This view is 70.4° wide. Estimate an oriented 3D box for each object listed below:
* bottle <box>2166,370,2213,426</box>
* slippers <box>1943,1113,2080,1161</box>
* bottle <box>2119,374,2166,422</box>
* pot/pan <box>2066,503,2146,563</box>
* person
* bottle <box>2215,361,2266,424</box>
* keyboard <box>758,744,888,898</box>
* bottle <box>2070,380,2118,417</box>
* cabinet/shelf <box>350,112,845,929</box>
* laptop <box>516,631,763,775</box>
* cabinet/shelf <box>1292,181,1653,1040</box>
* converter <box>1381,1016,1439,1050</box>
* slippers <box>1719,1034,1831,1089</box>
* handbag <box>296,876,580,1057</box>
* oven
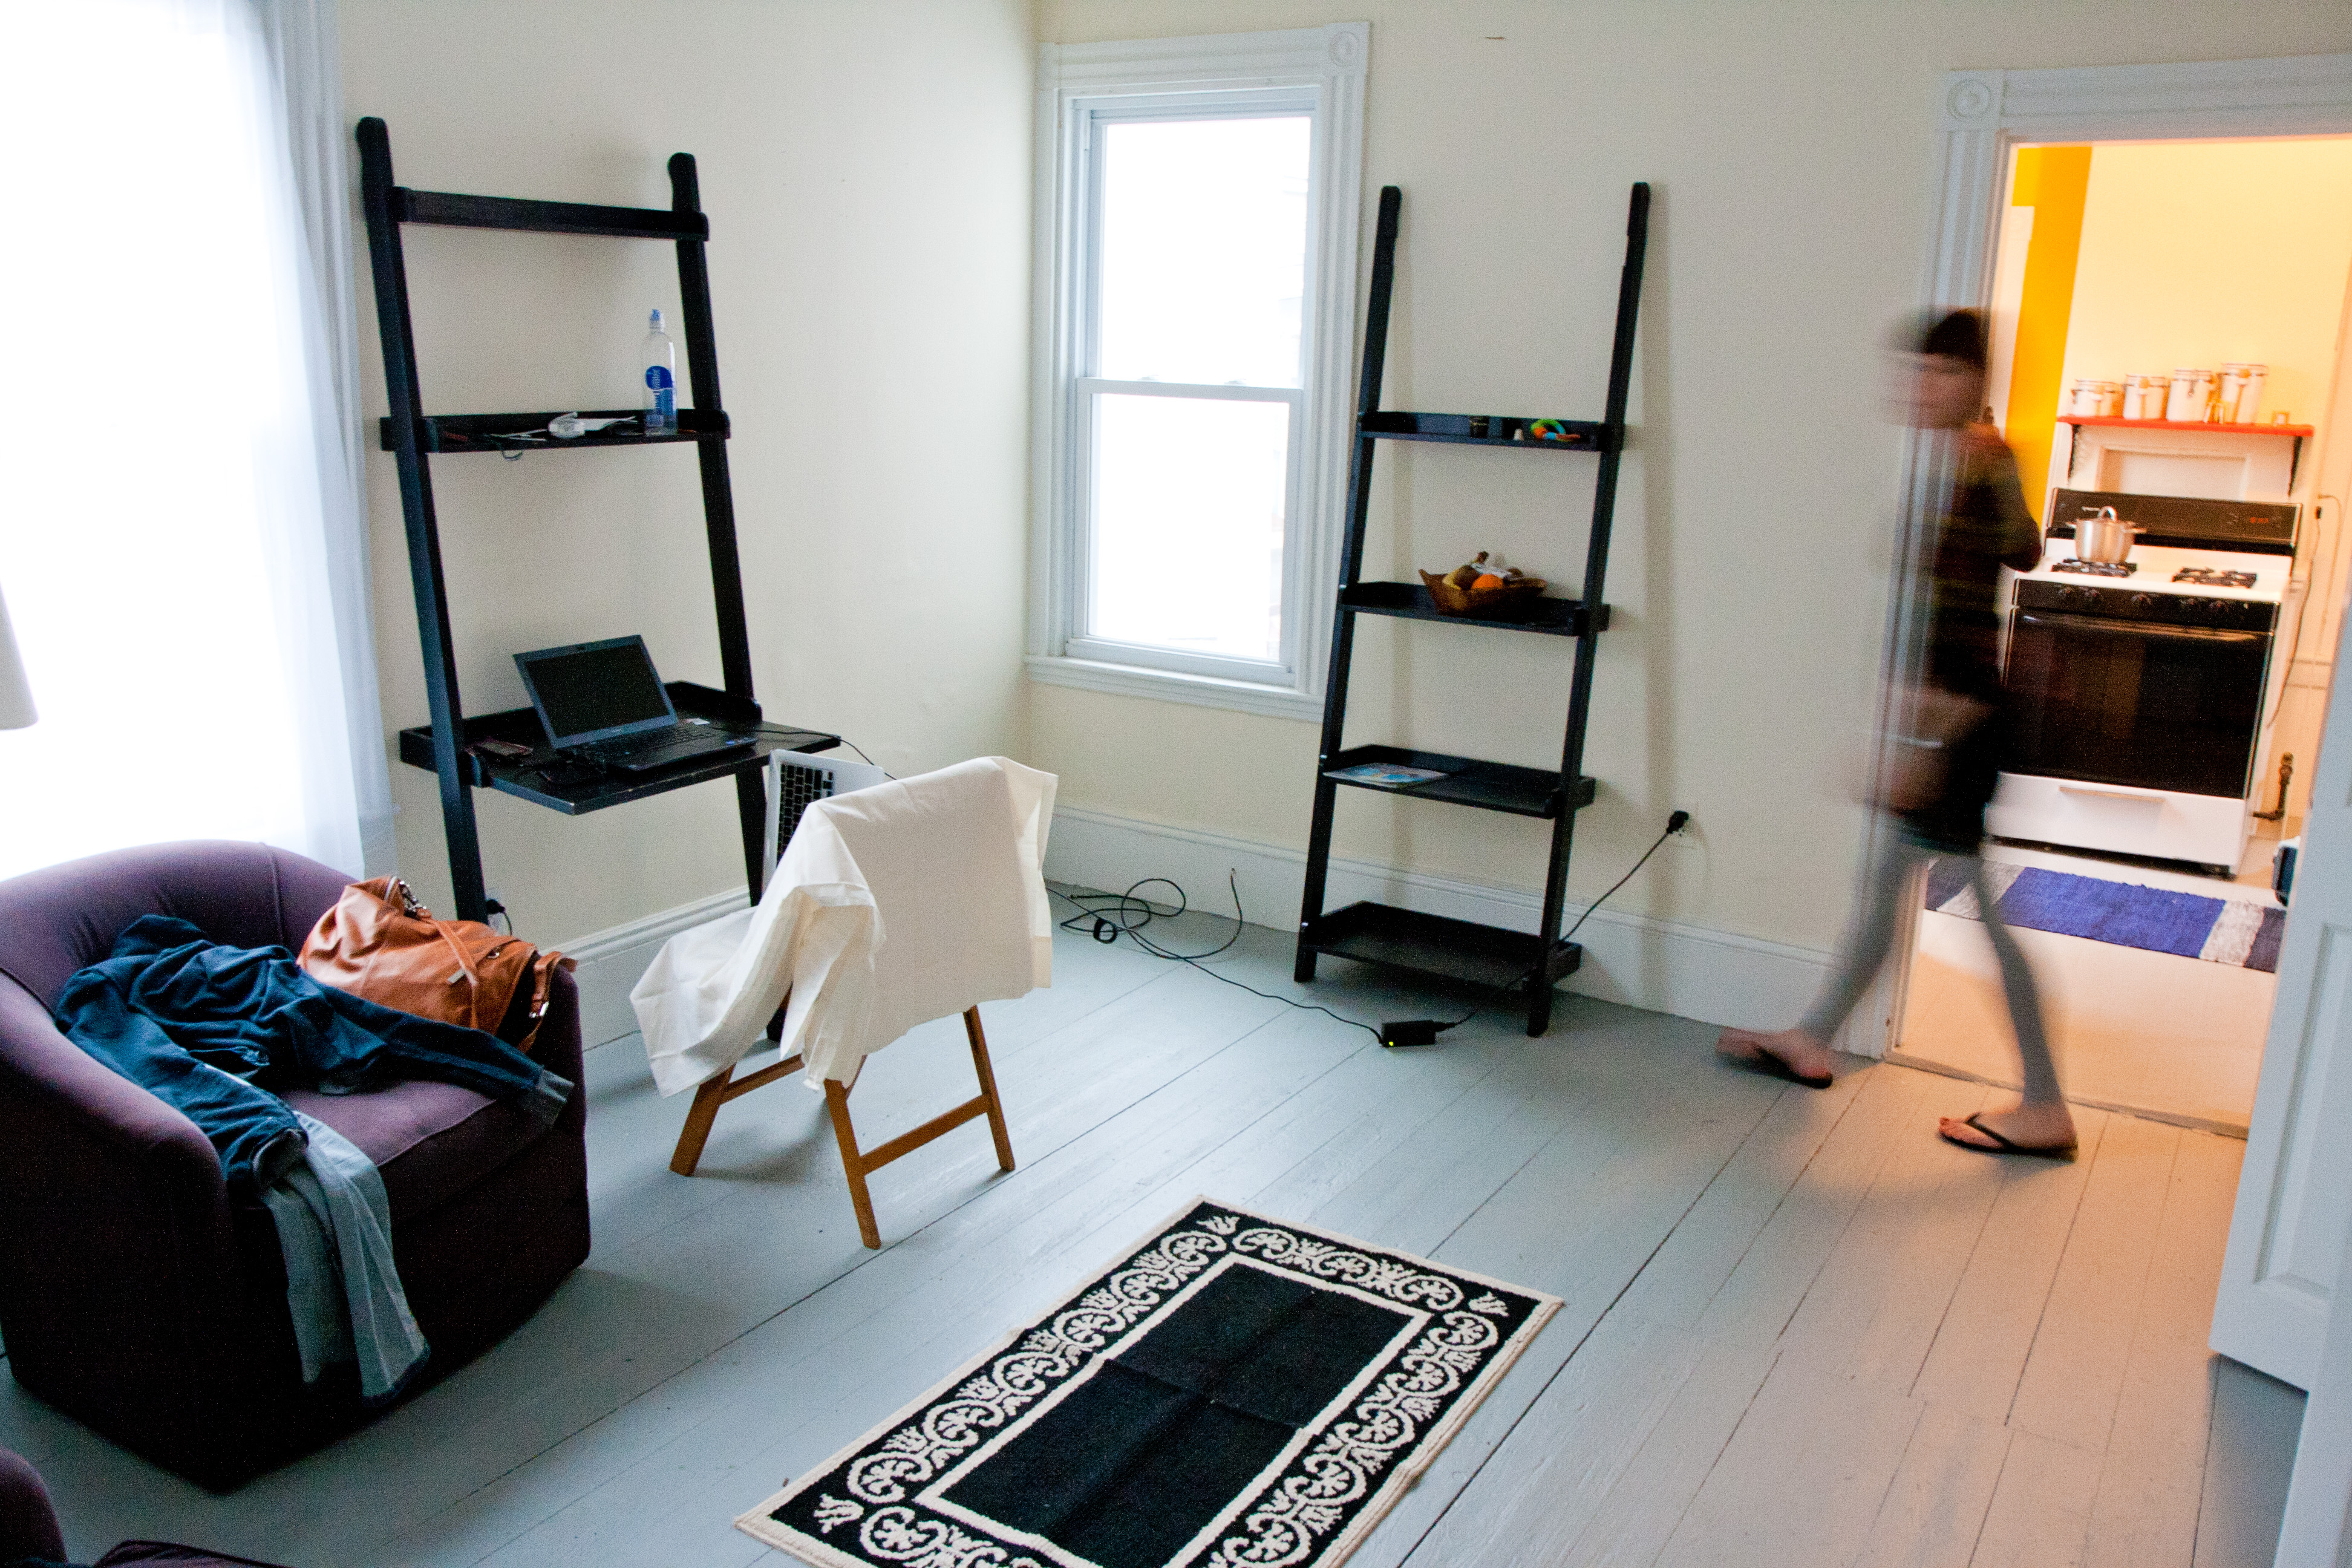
[{"bbox_3d":[4.622,-1.749,7.557,0.174,0.211,0.134,3,19,6],"label":"bottle"},{"bbox_3d":[2.402,0.985,4.802,0.260,0.063,0.145,6,10,18],"label":"slippers"},{"bbox_3d":[4.464,-1.739,7.722,0.243,0.248,0.183,4,8,39],"label":"bottle"},{"bbox_3d":[4.187,-1.079,7.575,0.281,0.330,0.362,-4,7,-44],"label":"pot/pan"},{"bbox_3d":[2.185,-0.142,4.754,0.669,2.287,0.934,-4,20,-15],"label":"person"},{"bbox_3d":[4.804,-1.744,7.500,0.214,0.256,0.183,9,20,21],"label":"bottle"},{"bbox_3d":[-0.901,0.099,4.234,0.388,0.449,0.033,10,19,21],"label":"keyboard"},{"bbox_3d":[4.295,-1.782,7.778,0.172,0.166,0.176,4,7,40],"label":"bottle"},{"bbox_3d":[-1.638,-0.667,4.650,1.056,2.177,0.893,-15,25,-39],"label":"cabinet/shelf"},{"bbox_3d":[-1.556,-0.210,4.748,0.470,0.278,0.483,16,21,26],"label":"laptop"},{"bbox_3d":[0.934,-0.589,5.411,0.975,2.591,0.902,6,20,15],"label":"cabinet/shelf"},{"bbox_3d":[0.746,0.790,5.296,0.147,0.053,0.080,-2,5,-14],"label":"converter"},{"bbox_3d":[1.862,0.851,5.206,0.322,0.117,0.139,21,25,32],"label":"slippers"},{"bbox_3d":[-1.771,0.409,3.953,0.504,0.187,0.356,23,41,2],"label":"handbag"},{"bbox_3d":[3.887,-0.175,6.752,0.973,1.187,0.796,5,8,31],"label":"oven"}]
